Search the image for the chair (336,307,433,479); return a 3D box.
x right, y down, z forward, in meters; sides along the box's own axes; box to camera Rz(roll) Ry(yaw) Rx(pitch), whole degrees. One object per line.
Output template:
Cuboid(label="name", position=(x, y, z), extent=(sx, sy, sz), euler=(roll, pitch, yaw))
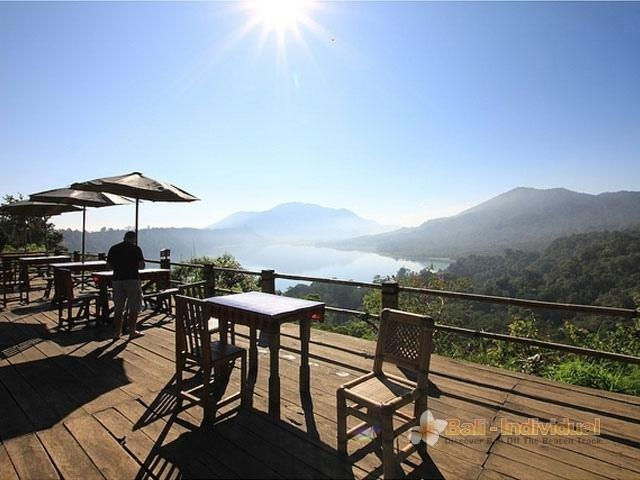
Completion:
Cuboid(label="chair", position=(0.689, 1.469, 3.681), extent=(0.792, 1.473, 0.914), euler=(1, 0, 33))

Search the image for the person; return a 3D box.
Cuboid(label="person", position=(-3.229, 0.778, 6.220), extent=(0.549, 1.839, 0.861), euler=(0, 0, -29))

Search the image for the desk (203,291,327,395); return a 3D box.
Cuboid(label="desk", position=(-0.719, 1.270, 4.516), extent=(1.546, 1.071, 0.847), euler=(0, -2, 44))
